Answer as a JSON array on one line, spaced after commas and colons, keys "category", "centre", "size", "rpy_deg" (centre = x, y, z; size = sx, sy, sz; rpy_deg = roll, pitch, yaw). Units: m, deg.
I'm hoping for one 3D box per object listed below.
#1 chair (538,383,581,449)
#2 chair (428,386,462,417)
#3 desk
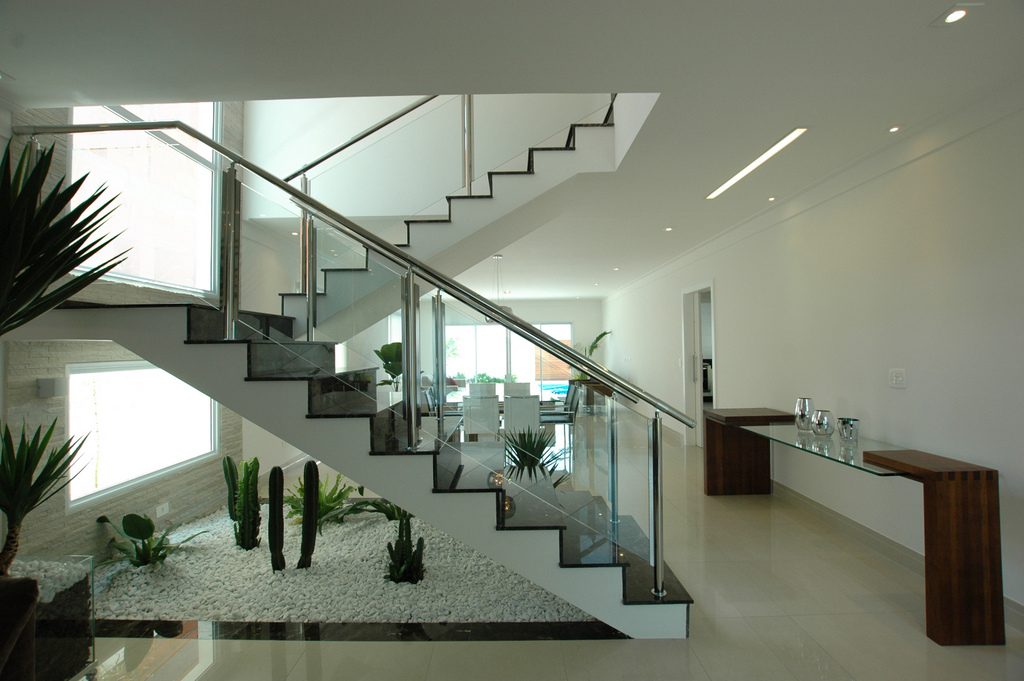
[{"category": "chair", "centre": [0.332, 0.491, 5.054], "size": [0.365, 0.494, 0.391], "rpy_deg": [0, -1, -3]}, {"category": "chair", "centre": [-0.462, 0.401, 5.106], "size": [0.238, 0.158, 0.100], "rpy_deg": [3, -1, -9]}, {"category": "desk", "centre": [2.493, 1.277, 6.058], "size": [1.117, 1.333, 2.756], "rpy_deg": [3, -1, -13]}]
